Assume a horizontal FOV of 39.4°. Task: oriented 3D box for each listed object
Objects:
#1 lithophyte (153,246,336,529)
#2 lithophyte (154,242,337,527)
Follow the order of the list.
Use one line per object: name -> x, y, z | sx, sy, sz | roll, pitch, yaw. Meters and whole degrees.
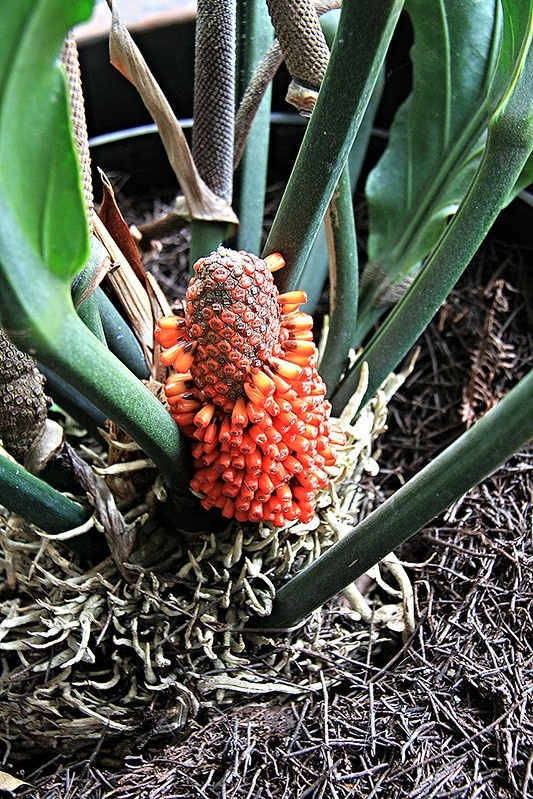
lithophyte -> -0.017, -0.005, 0.551 | 0.117, 0.214, 0.105 | -7, 35, 4
lithophyte -> -0.020, -0.006, 0.561 | 0.124, 0.238, 0.123 | 24, 51, 27
